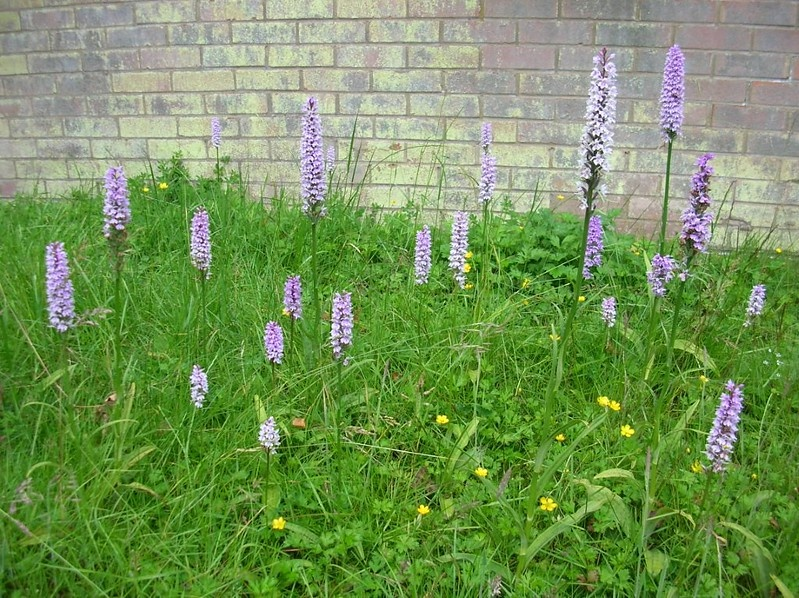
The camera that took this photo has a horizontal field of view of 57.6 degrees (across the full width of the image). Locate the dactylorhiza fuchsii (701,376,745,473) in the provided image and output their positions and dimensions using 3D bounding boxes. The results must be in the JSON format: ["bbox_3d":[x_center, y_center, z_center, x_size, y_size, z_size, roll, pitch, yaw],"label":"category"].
[{"bbox_3d":[1.497,0.581,3.355,0.113,0.496,0.176,10,18,25],"label":"dactylorhiza fuchsii"}]

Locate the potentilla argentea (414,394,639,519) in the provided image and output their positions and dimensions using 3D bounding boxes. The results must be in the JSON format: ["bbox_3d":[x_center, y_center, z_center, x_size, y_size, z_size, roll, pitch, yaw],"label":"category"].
[{"bbox_3d":[0.803,0.703,3.990,1.107,0.673,0.991,-1,11,-2],"label":"potentilla argentea"}]

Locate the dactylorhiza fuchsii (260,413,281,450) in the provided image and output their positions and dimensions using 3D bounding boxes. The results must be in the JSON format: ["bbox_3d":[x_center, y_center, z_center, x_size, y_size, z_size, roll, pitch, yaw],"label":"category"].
[{"bbox_3d":[-0.628,0.632,3.542,0.085,0.208,0.178,0,18,-8],"label":"dactylorhiza fuchsii"}]
